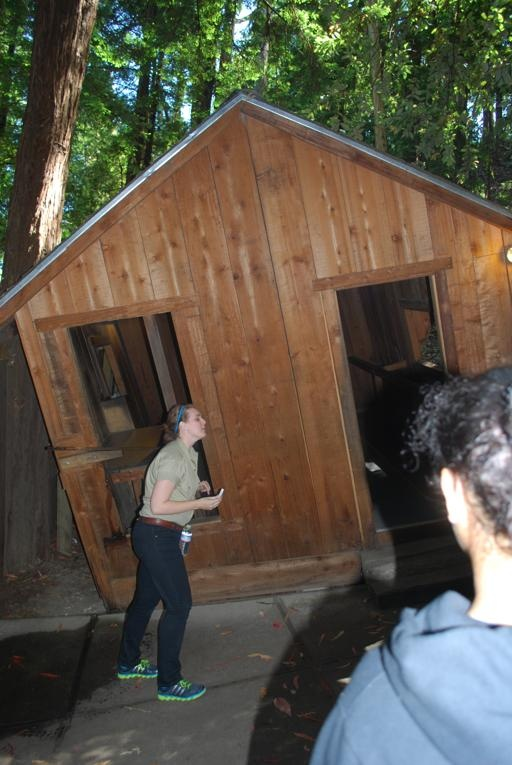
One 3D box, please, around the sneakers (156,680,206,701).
[{"bbox_3d":[-0.521,2.225,4.384,0.375,0.162,0.140,-3,16,-2],"label":"sneakers"}]
